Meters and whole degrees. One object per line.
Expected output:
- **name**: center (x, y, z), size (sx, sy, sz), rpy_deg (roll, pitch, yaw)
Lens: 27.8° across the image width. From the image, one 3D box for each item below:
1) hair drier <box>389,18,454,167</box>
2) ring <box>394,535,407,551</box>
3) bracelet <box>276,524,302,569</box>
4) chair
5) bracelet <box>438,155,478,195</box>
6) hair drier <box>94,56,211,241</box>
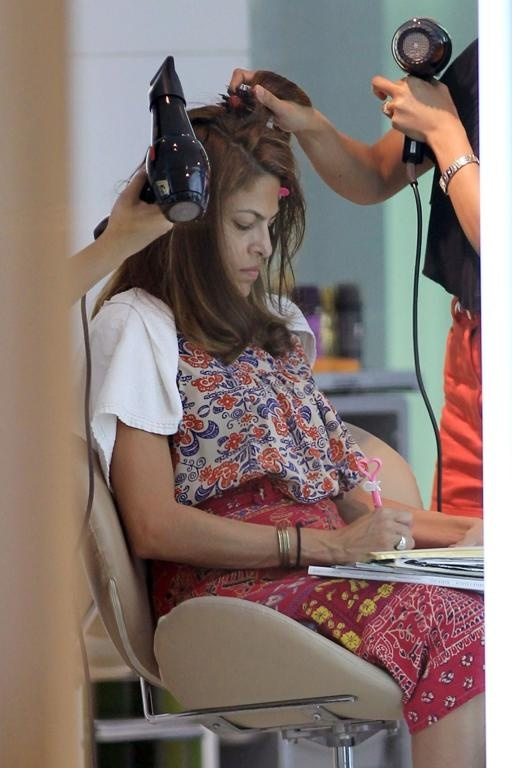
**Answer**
- **hair drier**: center (0.233, -0.469, 1.612), size (0.069, 0.155, 0.157), rpy_deg (-1, 1, -27)
- **ring**: center (0.226, 0.248, 1.610), size (0.018, 0.021, 0.022), rpy_deg (2, -14, 4)
- **bracelet**: center (0.049, 0.242, 1.525), size (0.020, 0.052, 0.049), rpy_deg (1, -17, 8)
- **chair**: center (0.018, 0.318, 1.659), size (0.449, 0.548, 0.425), rpy_deg (-3, -5, 9)
- **bracelet**: center (0.313, -0.332, 1.615), size (0.066, 0.042, 0.069), rpy_deg (-15, -24, 17)
- **hair drier**: center (-0.116, -0.350, 1.456), size (0.080, 0.240, 0.092), rpy_deg (-3, 2, -11)
